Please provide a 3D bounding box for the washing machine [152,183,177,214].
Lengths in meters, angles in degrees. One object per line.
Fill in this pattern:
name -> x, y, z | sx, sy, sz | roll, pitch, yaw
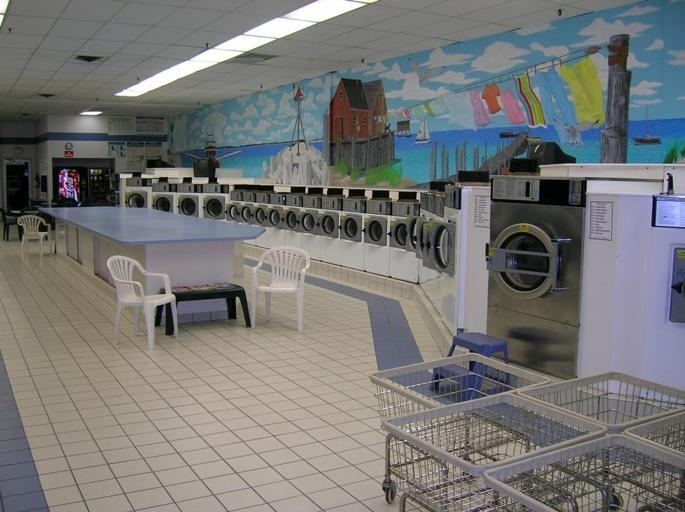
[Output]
washing machine -> -4.485, -1.505, 13.374 | 0.535, 0.654, 1.478 | -3, 10, -19

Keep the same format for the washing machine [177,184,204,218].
washing machine -> -3.612, -1.371, 12.689 | 0.446, 0.706, 1.227 | -8, 12, -42

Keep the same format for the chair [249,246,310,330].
chair -> -0.711, 0.346, 6.234 | 0.660, 0.861, 0.637 | 5, 11, 16

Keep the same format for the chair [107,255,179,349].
chair -> -2.097, 0.460, 5.556 | 0.606, 0.859, 0.574 | 3, 6, 6

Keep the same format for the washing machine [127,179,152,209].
washing machine -> -5.354, -1.696, 13.966 | 0.646, 0.721, 1.484 | -3, 10, -22

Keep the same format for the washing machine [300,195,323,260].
washing machine -> -0.484, -0.515, 9.963 | 0.541, 1.049, 0.609 | 3, 9, 13

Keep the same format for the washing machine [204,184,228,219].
washing machine -> -2.939, -1.289, 12.329 | 0.478, 0.768, 1.011 | -7, 12, -41
